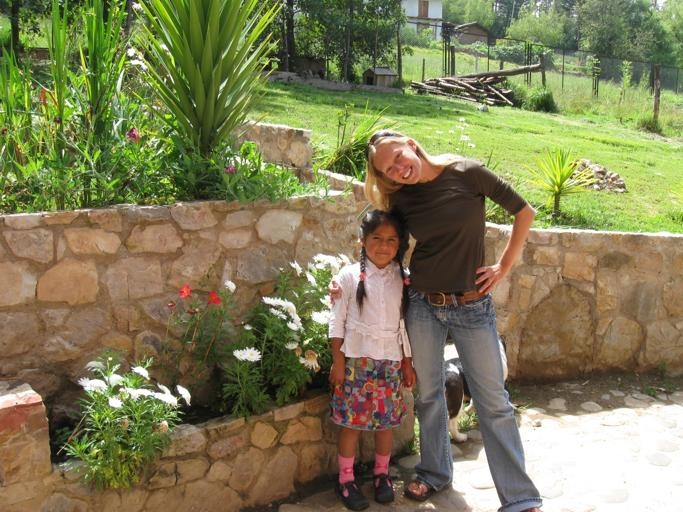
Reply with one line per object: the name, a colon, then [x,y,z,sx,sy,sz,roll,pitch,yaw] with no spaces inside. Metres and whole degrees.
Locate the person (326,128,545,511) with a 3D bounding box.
person: [0.709,0.424,3.512,1.122,2.376,0.395,4,11,23]

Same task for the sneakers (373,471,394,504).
sneakers: [0.280,1.518,3.646,0.082,0.093,0.217,-1,2,0]

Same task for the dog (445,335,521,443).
dog: [1.056,1.037,4.219,0.354,0.767,1.367,0,-16,-9]
